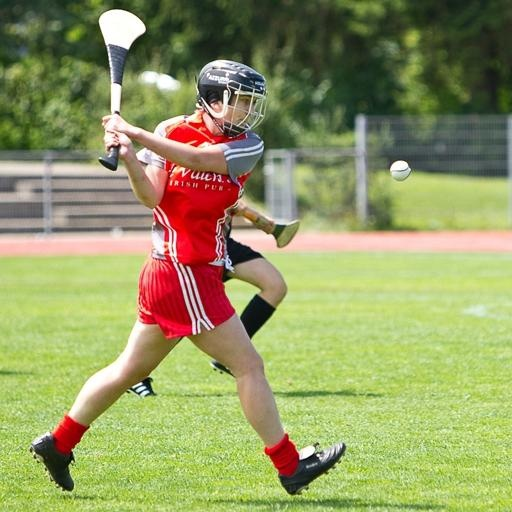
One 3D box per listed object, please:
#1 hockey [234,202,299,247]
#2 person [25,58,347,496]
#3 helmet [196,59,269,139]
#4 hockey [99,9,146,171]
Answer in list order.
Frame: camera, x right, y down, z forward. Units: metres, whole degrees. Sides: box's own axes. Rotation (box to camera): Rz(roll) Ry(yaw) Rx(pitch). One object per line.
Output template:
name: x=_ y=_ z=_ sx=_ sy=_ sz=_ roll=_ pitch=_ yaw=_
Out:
hockey: x=0.050 y=-0.216 z=6.382 sx=0.235 sy=0.126 sz=0.424 roll=-38 pitch=-36 yaw=22
person: x=-0.294 y=0.108 z=4.908 sx=1.416 sy=2.072 sz=0.455 roll=-1 pitch=10 yaw=3
helmet: x=0.010 y=-0.763 z=4.955 sx=0.461 sy=0.324 sz=0.338 roll=6 pitch=11 yaw=14
hockey: x=-0.683 y=-0.831 z=4.922 sx=0.307 sy=0.806 sz=0.159 roll=7 pitch=-24 yaw=-5
